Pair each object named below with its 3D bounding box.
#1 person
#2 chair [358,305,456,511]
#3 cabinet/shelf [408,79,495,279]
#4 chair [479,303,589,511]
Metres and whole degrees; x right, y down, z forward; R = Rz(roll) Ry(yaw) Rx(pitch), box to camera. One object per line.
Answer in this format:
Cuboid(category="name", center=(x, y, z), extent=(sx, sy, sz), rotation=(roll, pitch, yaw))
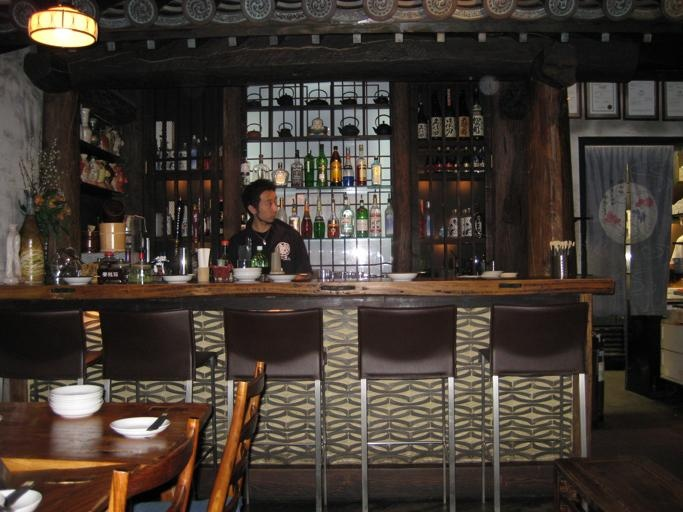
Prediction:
Cuboid(category="person", center=(-0.642, -0.239, 6.368), extent=(0.744, 1.098, 0.334), rotation=(-6, 4, -29))
Cuboid(category="chair", center=(0.433, 1.018, 4.920), extent=(0.651, 1.428, 0.371), rotation=(-2, 3, 3))
Cuboid(category="cabinet/shelf", center=(1.012, -0.711, 7.061), extent=(0.768, 1.812, 0.570), rotation=(-2, 3, -3))
Cuboid(category="chair", center=(1.272, 1.004, 4.921), extent=(0.730, 1.425, 0.450), rotation=(-1, 3, 13))
